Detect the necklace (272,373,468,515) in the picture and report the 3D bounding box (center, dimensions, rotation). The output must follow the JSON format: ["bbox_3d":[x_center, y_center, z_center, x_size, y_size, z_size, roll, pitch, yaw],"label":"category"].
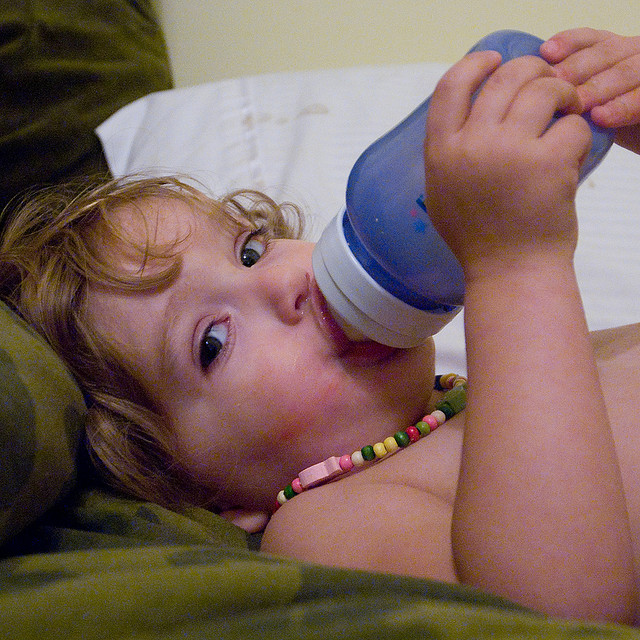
[{"bbox_3d":[0.032,0.180,0.874,0.237,0.194,0.041,-26,79,14],"label":"necklace"}]
